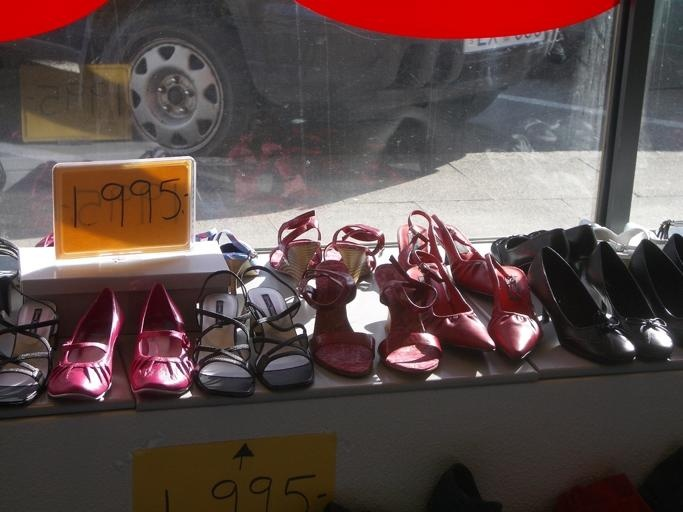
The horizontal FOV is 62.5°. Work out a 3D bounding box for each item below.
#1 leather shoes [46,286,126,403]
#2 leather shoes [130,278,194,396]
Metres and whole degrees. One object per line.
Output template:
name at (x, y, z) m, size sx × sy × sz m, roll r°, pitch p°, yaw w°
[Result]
leather shoes at (-0.561, 0.202, 1.312) m, size 0.113 × 0.105 × 0.297 m, roll 5°, pitch 21°, yaw -5°
leather shoes at (-0.407, 0.168, 1.297) m, size 0.117 × 0.107 × 0.291 m, roll 2°, pitch 35°, yaw -19°
